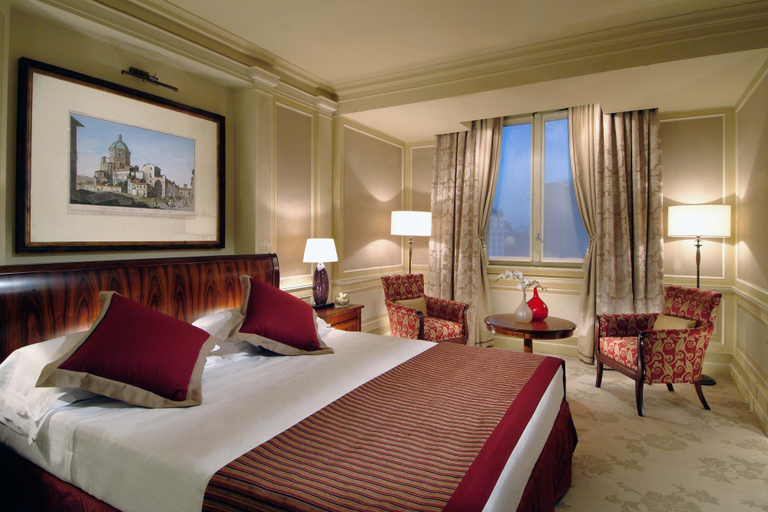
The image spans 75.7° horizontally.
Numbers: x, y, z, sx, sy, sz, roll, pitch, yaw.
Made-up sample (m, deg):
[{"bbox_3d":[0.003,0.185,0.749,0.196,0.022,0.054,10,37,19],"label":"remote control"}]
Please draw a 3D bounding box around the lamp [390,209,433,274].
[{"bbox_3d":[0.369,-0.092,6.788,0.654,0.837,0.673,4,-17,-2],"label":"lamp"}]

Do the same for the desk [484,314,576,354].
[{"bbox_3d":[1.504,0.745,5.171,0.585,0.643,0.584,-2,1,-22],"label":"desk"}]

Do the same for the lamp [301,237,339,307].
[{"bbox_3d":[-0.729,0.189,5.695,0.374,0.794,0.366,0,3,-23],"label":"lamp"}]

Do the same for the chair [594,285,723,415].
[{"bbox_3d":[2.917,0.955,5.600,1.232,1.627,1.252,2,-4,-12],"label":"chair"}]

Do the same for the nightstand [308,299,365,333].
[{"bbox_3d":[-0.578,0.587,5.850,0.333,0.507,0.535,1,3,23],"label":"nightstand"}]
